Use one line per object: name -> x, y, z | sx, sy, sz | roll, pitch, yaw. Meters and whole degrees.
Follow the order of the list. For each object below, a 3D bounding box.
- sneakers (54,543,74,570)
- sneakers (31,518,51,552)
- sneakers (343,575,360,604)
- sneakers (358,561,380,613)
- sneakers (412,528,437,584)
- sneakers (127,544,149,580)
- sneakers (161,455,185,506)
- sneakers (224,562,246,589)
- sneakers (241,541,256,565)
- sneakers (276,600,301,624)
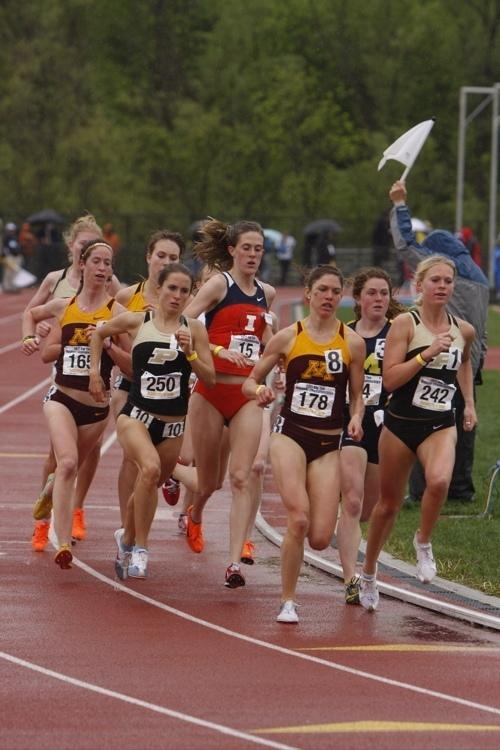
sneakers -> -1.037, 0.996, 4.940 | 0.101, 0.199, 0.101 | 6, 42, 2
sneakers -> -1.423, 1.083, 6.135 | 0.141, 0.220, 0.105 | 4, 4, -22
sneakers -> 0.568, 1.208, 5.045 | 0.083, 0.169, 0.157 | 1, 1, 6
sneakers -> 0.643, 1.151, 4.913 | 0.094, 0.247, 0.113 | -3, 0, 3
sneakers -> 0.907, 0.959, 4.732 | 0.115, 0.304, 0.134 | -5, -17, -3
sneakers -> -0.615, 1.022, 4.919 | 0.100, 0.154, 0.180 | 1, 1, -8
sneakers -> -0.624, 0.864, 7.086 | 0.173, 0.453, 0.190 | -9, 6, -9
sneakers -> -0.097, 1.102, 4.976 | 0.092, 0.086, 0.200 | -1, -15, -1
sneakers -> -0.019, 1.110, 5.614 | 0.090, 0.103, 0.253 | 0, -2, 6
sneakers -> 0.191, 1.208, 4.637 | 0.082, 0.066, 0.159 | 2, 3, -1
